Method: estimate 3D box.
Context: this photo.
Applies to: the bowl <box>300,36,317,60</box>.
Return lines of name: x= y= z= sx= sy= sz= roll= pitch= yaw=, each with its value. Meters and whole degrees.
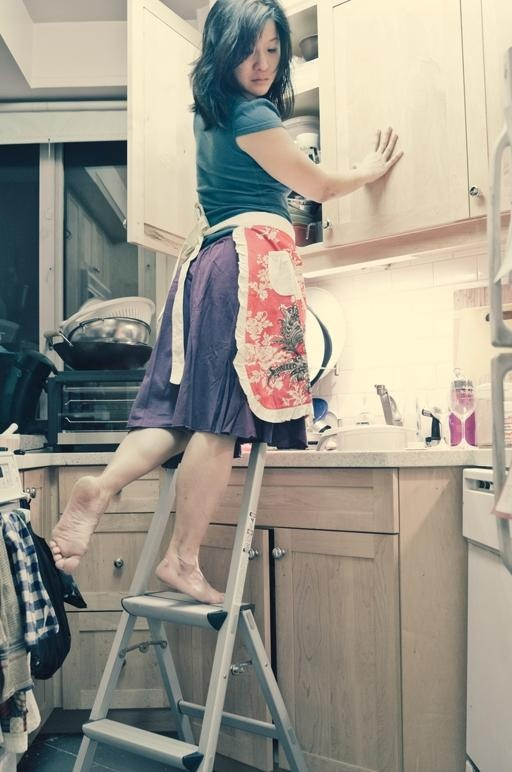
bowl: x=0.164 y=-1.007 z=2.364 sx=0.056 sy=0.048 sz=0.060 roll=-1 pitch=-1 yaw=0

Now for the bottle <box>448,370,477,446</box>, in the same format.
bottle: x=0.504 y=0.068 z=1.913 sx=0.059 sy=0.164 sz=0.146 roll=0 pitch=0 yaw=11

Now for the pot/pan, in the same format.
pot/pan: x=-0.467 y=-0.123 z=2.438 sx=0.187 sy=0.093 sz=0.206 roll=-10 pitch=1 yaw=3

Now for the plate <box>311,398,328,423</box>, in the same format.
plate: x=0.202 y=0.083 z=2.442 sx=0.063 sy=0.067 sz=0.015 roll=20 pitch=-7 yaw=34
